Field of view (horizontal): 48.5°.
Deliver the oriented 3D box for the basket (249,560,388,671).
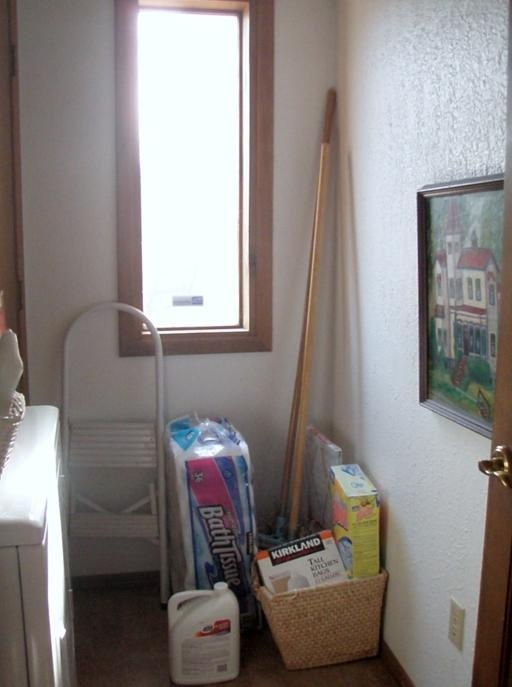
[{"bbox_3d":[0.194,0.743,1.625,0.269,0.296,0.261,-5,-6,-10],"label":"basket"}]
